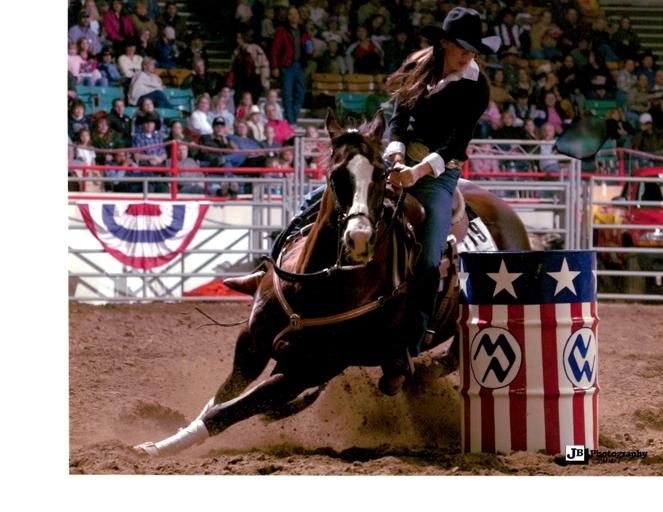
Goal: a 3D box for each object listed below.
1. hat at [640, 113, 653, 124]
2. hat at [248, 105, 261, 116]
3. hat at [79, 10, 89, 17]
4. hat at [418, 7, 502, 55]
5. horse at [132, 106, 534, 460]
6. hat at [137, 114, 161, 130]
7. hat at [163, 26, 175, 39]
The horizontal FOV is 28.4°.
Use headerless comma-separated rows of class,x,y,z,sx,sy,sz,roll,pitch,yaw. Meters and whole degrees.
hat,5.306,-2.326,22.144,0.167,0.165,0.221,-12,-11,25
hat,-1.238,-2.367,21.274,0.162,0.073,0.140,6,0,-13
hat,-3.932,-3.853,20.864,0.124,0.103,0.026,4,-30,-16
hat,1.342,-2.229,13.142,0.584,0.231,0.613,3,9,-36
horse,0.038,0.258,13.278,3.552,3.402,1.471,-1,7,-9
hat,-2.856,-2.123,20.527,0.284,0.096,0.287,2,-13,-8
hat,-2.657,-3.668,21.563,0.053,0.203,0.223,6,9,42
